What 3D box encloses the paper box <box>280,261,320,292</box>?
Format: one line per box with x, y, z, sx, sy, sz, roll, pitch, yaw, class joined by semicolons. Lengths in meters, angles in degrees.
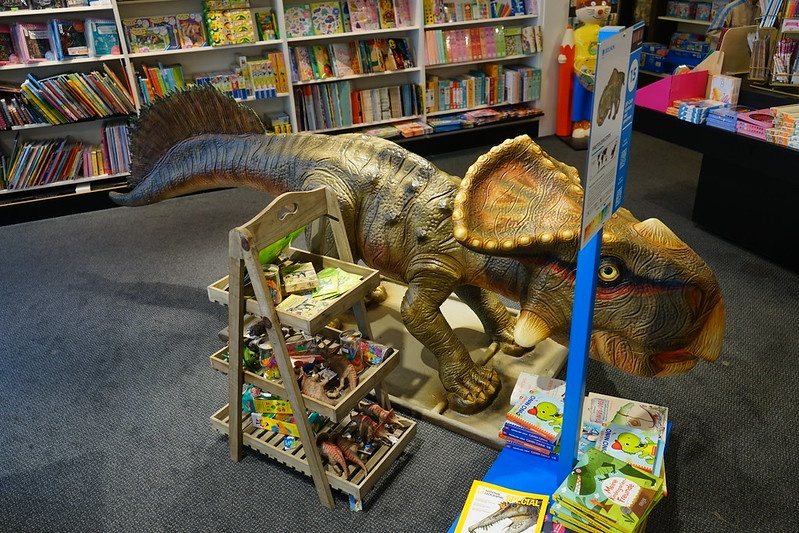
-0.442;0.048;2.225;0.124;0.032;0.140;-3;34;-4;paper box

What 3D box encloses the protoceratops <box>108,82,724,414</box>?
-0.144;-0.210;2.725;3.246;1.136;0.942;17;25;12;protoceratops

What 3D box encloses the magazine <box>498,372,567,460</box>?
0.594;0.648;2.170;0.298;0.073;0.297;14;47;-12;magazine

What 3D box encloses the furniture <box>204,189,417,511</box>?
-0.427;0.321;2.304;0.950;1.204;0.681;12;21;26;furniture

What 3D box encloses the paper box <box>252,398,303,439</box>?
-0.591;0.706;2.437;0.232;0.089;0.179;12;33;21;paper box

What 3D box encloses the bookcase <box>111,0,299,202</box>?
-1.301;-0.782;3.152;1.310;0.756;0.575;-9;9;18;bookcase
